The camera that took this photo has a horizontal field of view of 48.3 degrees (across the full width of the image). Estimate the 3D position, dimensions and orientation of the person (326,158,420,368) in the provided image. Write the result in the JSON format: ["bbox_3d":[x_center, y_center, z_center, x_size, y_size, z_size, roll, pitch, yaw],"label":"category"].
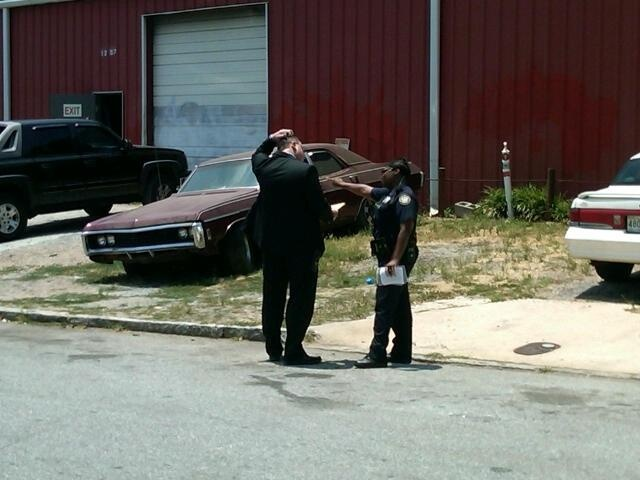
[{"bbox_3d":[0.639,0.239,6.766,0.600,1.953,0.614,-1,8,5],"label":"person"}]

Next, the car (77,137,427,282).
[{"bbox_3d":[-1.017,-0.313,11.859,2.207,1.464,5.075,3,12,37],"label":"car"}]

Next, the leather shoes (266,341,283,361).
[{"bbox_3d":[-0.452,1.088,6.968,0.151,0.226,0.124,1,20,6],"label":"leather shoes"}]

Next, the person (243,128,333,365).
[{"bbox_3d":[-0.278,0.076,6.900,0.703,2.227,0.512,-2,8,-6],"label":"person"}]

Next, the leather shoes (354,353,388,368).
[{"bbox_3d":[0.490,1.138,6.676,0.249,0.114,0.132,0,0,-5],"label":"leather shoes"}]
